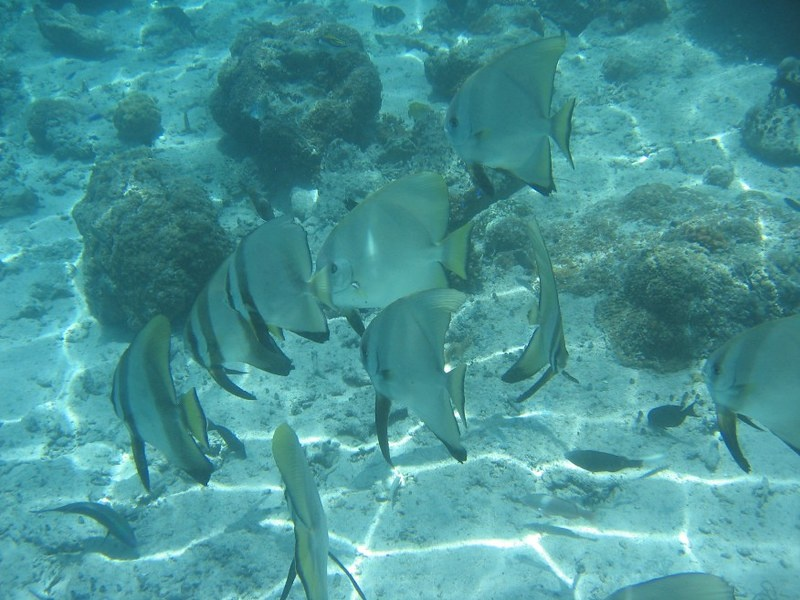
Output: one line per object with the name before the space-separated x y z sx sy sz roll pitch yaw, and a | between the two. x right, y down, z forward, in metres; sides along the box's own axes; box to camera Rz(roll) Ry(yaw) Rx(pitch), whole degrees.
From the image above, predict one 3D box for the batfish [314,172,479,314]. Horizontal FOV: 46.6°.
batfish | 0.027 -0.622 11.237 1.606 1.182 0.294 -22 12 -3
